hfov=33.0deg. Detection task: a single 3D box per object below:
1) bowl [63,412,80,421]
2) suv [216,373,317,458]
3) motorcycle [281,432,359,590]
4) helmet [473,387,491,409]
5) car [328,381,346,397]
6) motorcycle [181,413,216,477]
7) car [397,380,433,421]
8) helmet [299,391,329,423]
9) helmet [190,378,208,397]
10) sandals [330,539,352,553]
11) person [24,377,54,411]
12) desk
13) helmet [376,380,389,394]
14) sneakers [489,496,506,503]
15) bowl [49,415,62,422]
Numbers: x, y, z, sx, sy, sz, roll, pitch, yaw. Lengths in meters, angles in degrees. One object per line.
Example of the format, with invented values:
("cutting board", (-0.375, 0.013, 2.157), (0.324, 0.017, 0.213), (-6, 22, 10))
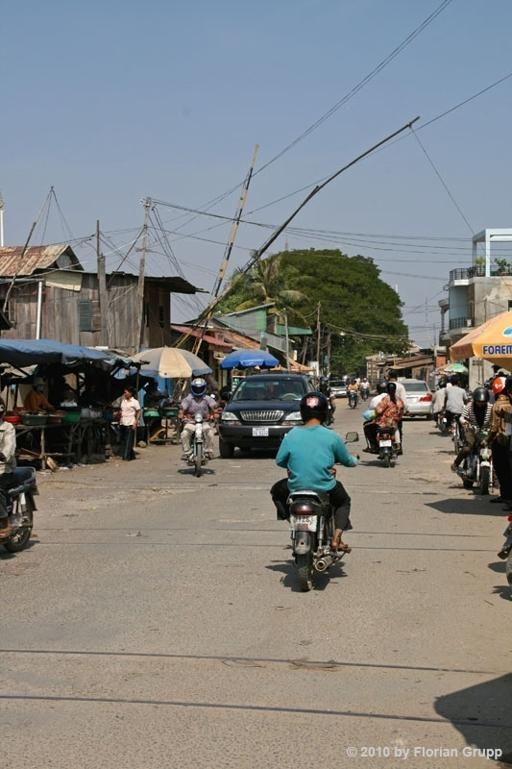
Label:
("bowl", (-3.561, 0.637, 16.753), (0.140, 0.205, 0.451), (0, -2, 24))
("suv", (0.110, 0.527, 18.004), (1.279, 1.097, 2.600), (-2, -6, 9))
("motorcycle", (0.433, 1.103, 6.517), (0.497, 0.715, 1.173), (0, 6, 8))
("helmet", (3.241, 0.167, 12.317), (0.223, 0.219, 0.286), (2, 20, 1))
("car", (6.265, 0.285, 66.373), (1.620, 1.125, 3.293), (-1, -4, 5))
("motorcycle", (-1.008, 1.035, 15.162), (0.429, 1.074, 1.351), (0, -2, -2))
("car", (6.243, 0.572, 34.021), (1.507, 1.074, 3.338), (0, 6, 6))
("helmet", (0.489, 0.194, 7.110), (0.218, 0.246, 0.271), (3, 3, 8))
("helmet", (-1.002, 0.051, 15.295), (0.260, 0.272, 0.336), (0, -6, -4))
("sandals", (0.660, 1.261, 6.735), (0.191, 0.114, 0.097), (-2, 3, 5))
("person", (-4.175, 0.193, 16.593), (0.507, 0.647, 0.806), (0, -2, 2))
("desk", (-3.854, 1.118, 17.088), (1.345, 0.953, 3.304), (0, -2, -2))
("helmet", (2.468, 0.075, 16.878), (0.207, 0.240, 0.252), (-3, 25, -2))
("sneakers", (3.162, 1.507, 11.325), (0.206, 0.078, 0.073), (2, 4, 27))
("bowl", (-3.717, 0.633, 16.101), (0.169, 0.107, 0.153), (-3, 6, -34))
